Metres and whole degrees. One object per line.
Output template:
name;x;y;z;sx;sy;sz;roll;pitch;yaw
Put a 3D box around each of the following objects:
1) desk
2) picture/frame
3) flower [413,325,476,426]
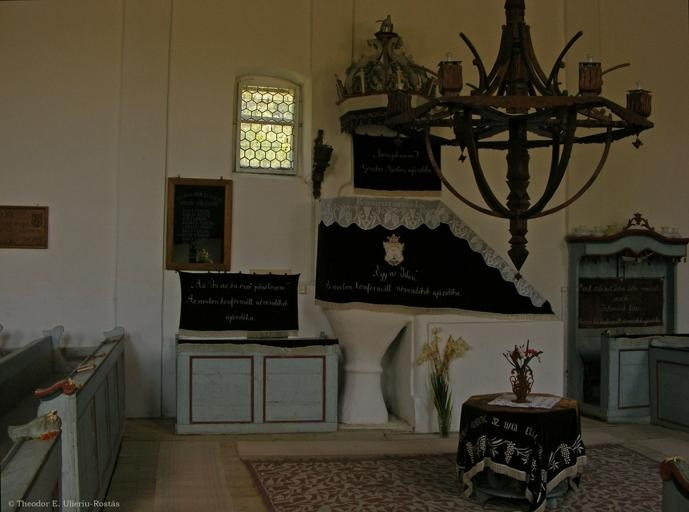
desk;1.781;1.891;7.942;1.032;0.759;1.075;-3;-6;38
picture/frame;-2.038;-0.438;10.448;1.153;1.727;0.067;1;-5;-12
flower;1.229;1.558;9.776;0.696;1.308;0.363;1;9;4
